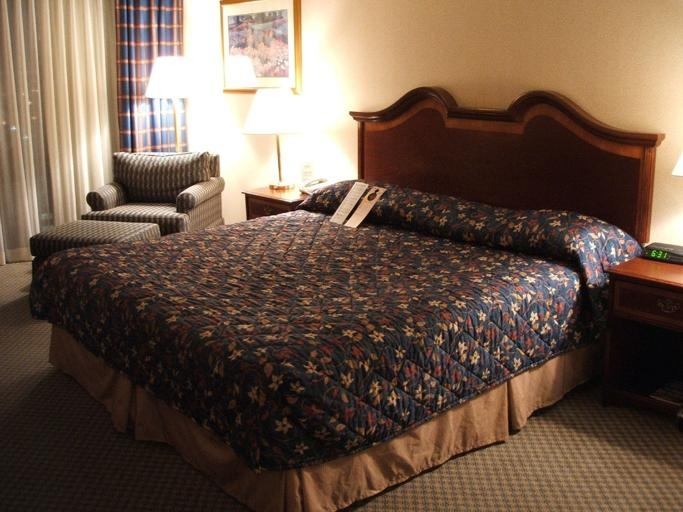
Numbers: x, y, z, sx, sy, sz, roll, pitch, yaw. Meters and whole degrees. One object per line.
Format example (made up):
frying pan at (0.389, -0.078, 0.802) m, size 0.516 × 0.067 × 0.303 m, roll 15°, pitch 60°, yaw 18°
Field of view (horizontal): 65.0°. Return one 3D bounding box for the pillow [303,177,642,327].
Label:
pillow at (1.054, -0.093, 3.632) m, size 1.573 × 0.559 × 0.515 m, roll 19°, pitch 26°, yaw 39°

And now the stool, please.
stool at (-2.146, 0.010, 4.895) m, size 1.053 × 0.654 × 1.032 m, roll 3°, pitch 13°, yaw 1°

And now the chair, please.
chair at (-1.919, -0.601, 5.473) m, size 1.210 × 0.857 × 1.183 m, roll 4°, pitch 17°, yaw 14°
